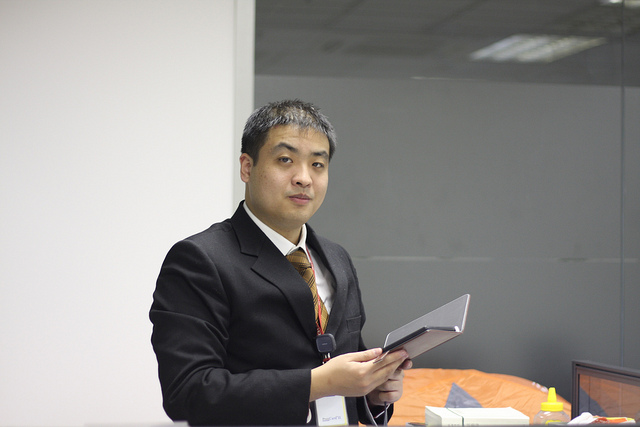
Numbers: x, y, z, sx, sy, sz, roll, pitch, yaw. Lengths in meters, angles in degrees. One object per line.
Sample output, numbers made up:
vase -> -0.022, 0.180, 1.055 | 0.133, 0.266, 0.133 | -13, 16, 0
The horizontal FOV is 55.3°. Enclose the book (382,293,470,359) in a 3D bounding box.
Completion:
book -> 0.416, 0.446, 2.408 | 0.306, 0.250, 0.218 | -4, -1, 30

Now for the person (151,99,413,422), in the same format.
person -> -0.179, 0.221, 2.692 | 1.053, 1.353, 0.589 | -3, -1, 2

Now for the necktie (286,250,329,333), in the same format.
necktie -> -0.060, 0.345, 2.684 | 0.076, 0.323, 0.184 | -25, -18, 25
